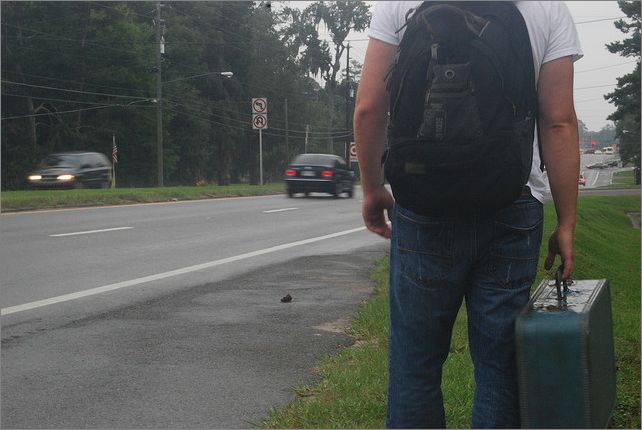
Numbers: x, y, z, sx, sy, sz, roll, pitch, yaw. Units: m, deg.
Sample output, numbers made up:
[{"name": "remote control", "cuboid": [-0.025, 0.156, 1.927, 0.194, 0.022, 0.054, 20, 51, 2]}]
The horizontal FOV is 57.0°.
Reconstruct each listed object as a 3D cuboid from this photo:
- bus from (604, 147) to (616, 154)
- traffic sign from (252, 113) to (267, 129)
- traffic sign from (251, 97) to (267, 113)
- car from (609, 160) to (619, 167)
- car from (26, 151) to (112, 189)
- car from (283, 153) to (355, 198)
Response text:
[{"name": "bus", "cuboid": [102.446, -22.942, 207.923, 4.653, 2.544, 3.166, -1, 5, 12]}, {"name": "traffic sign", "cuboid": [-3.742, -5.742, 36.036, 0.774, 0.972, 1.030, 0, 6, -4]}, {"name": "traffic sign", "cuboid": [-3.775, -6.785, 36.537, 0.807, 0.929, 0.753, 1, 6, 0]}, {"name": "car", "cuboid": [72.133, -12.737, 144.702, 2.128, 1.001, 1.488, 1, -2, 14]}, {"name": "car", "cuboid": [-10.701, -1.900, 25.739, 1.729, 1.298, 2.978, -1, -2, 23]}, {"name": "car", "cuboid": [0.054, -1.572, 23.735, 2.883, 1.768, 1.521, -2, 6, -26]}]
